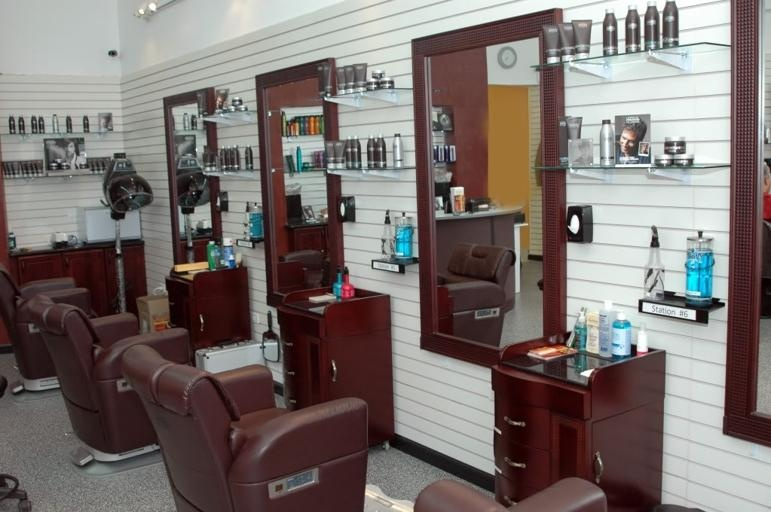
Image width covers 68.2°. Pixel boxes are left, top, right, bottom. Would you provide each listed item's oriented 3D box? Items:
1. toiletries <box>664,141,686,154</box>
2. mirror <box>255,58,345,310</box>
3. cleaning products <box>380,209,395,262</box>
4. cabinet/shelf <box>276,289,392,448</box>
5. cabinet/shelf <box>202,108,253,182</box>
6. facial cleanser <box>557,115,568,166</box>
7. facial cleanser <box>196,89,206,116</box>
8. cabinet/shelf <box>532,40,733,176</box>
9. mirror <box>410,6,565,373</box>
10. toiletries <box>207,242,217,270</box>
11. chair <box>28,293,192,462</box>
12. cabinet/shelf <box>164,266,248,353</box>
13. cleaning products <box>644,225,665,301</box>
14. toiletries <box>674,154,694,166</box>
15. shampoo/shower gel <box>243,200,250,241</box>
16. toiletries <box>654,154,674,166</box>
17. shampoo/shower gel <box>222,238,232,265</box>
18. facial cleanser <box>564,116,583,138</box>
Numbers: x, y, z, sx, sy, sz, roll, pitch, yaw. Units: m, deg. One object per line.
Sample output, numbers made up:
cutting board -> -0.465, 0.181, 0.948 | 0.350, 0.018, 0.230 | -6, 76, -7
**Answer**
toiletries -> 1.551, -0.578, 3.043 | 0.086, 0.073, 0.086 | -7, 10, -38
mirror -> -0.790, -0.666, 5.289 | 1.081, 2.099, 0.146 | 13, 17, 42
cleaning products -> 0.028, -0.174, 4.568 | 0.098, 0.365, 0.185 | -2, 11, -3
cabinet/shelf -> -0.288, 0.891, 4.851 | 0.749, 1.158, 1.067 | -4, 10, -30
cabinet/shelf -> -1.635, -1.174, 5.983 | 0.251, 0.699, 0.756 | -7, 9, -44
facial cleanser -> 1.081, -0.695, 3.458 | 0.068, 0.286, 0.043 | -5, 7, -15
facial cleanser -> -1.991, -1.658, 6.188 | 0.087, 0.310, 0.518 | -6, 11, -21
cabinet/shelf -> 1.440, -0.790, 3.211 | 0.906, 0.699, 0.345 | 5, 13, 30
mirror -> 0.683, -0.397, 3.987 | 0.307, 2.358, 1.326 | -12, 14, -41
toiletries -> -1.807, 0.005, 5.979 | 0.102, 0.258, 0.195 | -5, 11, -16
chair -> -2.213, 0.890, 4.864 | 1.254, 1.475, 1.207 | -7, 8, -43
cabinet/shelf -> -1.814, 0.481, 6.053 | 0.597, 0.832, 0.874 | -5, 11, -34
cleaning products -> 1.551, 0.038, 3.255 | 0.100, 0.406, 0.152 | 4, 12, 26
toiletries -> 1.589, -0.498, 3.007 | 0.071, 0.051, 0.071 | -1, 4, 0
shampoo/shower gel -> -1.444, -0.374, 5.955 | 0.094, 0.382, 0.245 | -5, 11, -14
toiletries -> 1.497, -0.508, 3.051 | 0.095, 0.060, 0.029 | 3, 12, 24
shampoo/shower gel -> -1.645, -0.031, 5.972 | 0.093, 0.290, 0.070 | -5, 11, -16
facial cleanser -> 1.121, -0.765, 3.396 | 0.115, 0.188, 0.064 | 6, 26, 26
